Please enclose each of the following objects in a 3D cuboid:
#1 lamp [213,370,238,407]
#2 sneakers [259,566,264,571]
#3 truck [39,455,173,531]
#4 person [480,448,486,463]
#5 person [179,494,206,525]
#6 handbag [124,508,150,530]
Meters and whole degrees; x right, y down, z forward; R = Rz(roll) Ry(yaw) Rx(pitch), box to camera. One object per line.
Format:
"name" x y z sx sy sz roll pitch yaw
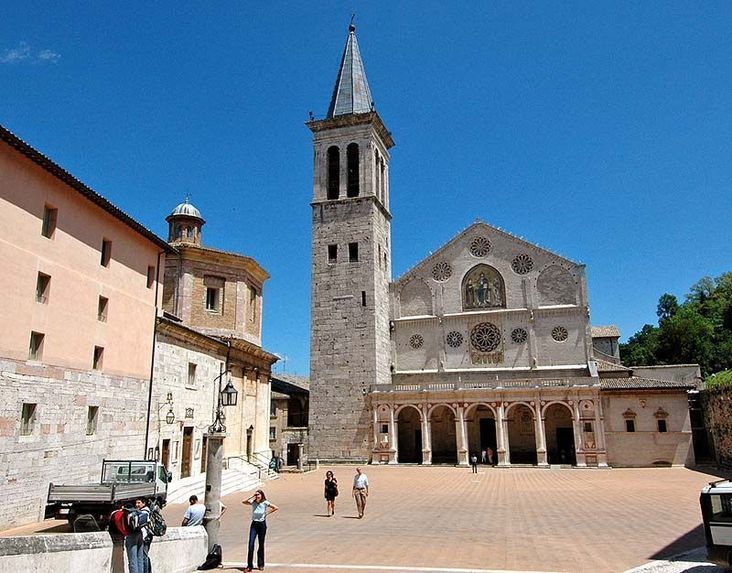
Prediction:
"lamp" -4.483 3.228 17.538 0.784 1.340 0.455 0 -36 -10
"sneakers" -2.737 7.384 14.323 0.139 0.137 0.081 2 0 5
"truck" -8.710 7.455 19.447 2.320 2.255 4.837 -2 -13 11
"person" 9.753 14.180 45.426 0.552 1.063 1.645 -6 -17 11
"person" -4.826 6.317 15.481 0.591 0.824 1.726 2 -18 -16
"handbag" -5.393 5.467 12.904 0.424 0.476 0.464 -2 2 -7
